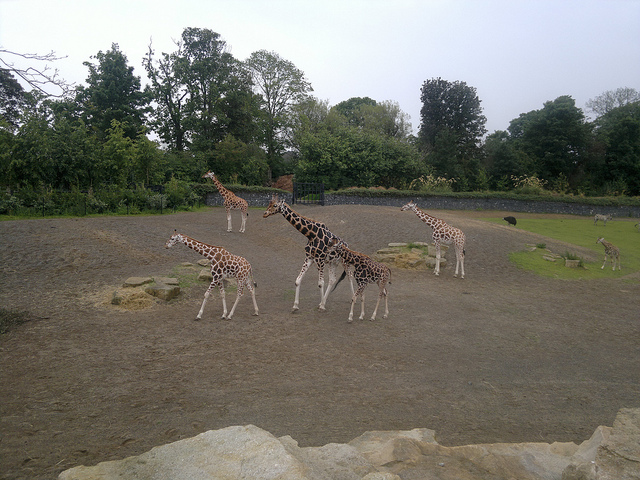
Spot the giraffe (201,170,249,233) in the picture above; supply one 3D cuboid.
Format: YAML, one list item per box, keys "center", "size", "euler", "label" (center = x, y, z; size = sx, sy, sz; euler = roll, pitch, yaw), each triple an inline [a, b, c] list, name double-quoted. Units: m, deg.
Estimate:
- center: [-5.387, -2.241, 28.686]
  size: [1.878, 3.298, 3.411]
  euler: [-2, 8, -16]
  label: "giraffe"

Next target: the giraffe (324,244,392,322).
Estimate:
- center: [1.371, 1.310, 16.054]
  size: [2.062, 2.350, 1.353]
  euler: [-3, 8, -23]
  label: "giraffe"

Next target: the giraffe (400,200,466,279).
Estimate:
- center: [5.467, -0.121, 23.218]
  size: [2.636, 3.223, 3.102]
  euler: [2, 8, 12]
  label: "giraffe"

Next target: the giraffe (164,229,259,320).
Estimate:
- center: [-3.746, 0.895, 16.715]
  size: [2.806, 2.537, 4.359]
  euler: [-2, 8, -18]
  label: "giraffe"

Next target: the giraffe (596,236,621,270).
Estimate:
- center: [15.055, 0.813, 25.362]
  size: [0.822, 1.204, 2.248]
  euler: [5, 9, 31]
  label: "giraffe"
